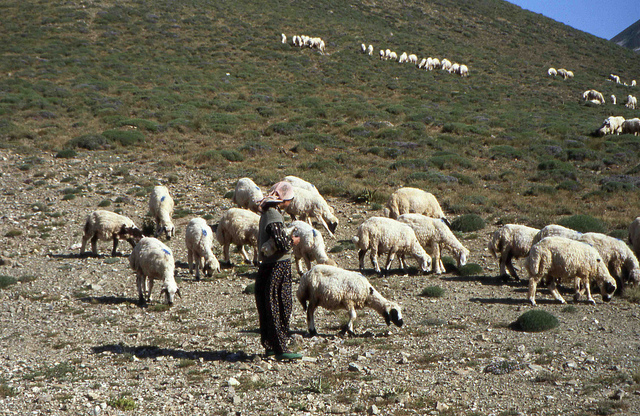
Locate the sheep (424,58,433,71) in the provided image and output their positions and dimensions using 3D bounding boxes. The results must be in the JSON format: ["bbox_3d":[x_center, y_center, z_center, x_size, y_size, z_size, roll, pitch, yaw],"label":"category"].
[{"bbox_3d":[13.529,-18.081,133.682,0.597,1.666,1.253,11,17,-23],"label":"sheep"}]

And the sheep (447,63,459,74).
[{"bbox_3d":[16.743,-17.641,133.117,1.358,1.182,1.157,2,5,1],"label":"sheep"}]

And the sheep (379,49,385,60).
[{"bbox_3d":[7.859,-19.493,134.335,0.442,1.411,0.784,-2,22,-1],"label":"sheep"}]

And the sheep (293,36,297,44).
[{"bbox_3d":[-3.262,-21.372,133.991,0.313,0.963,0.582,2,5,-5],"label":"sheep"}]

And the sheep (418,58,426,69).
[{"bbox_3d":[12.916,-18.338,133.768,0.936,1.110,1.294,2,5,-2],"label":"sheep"}]

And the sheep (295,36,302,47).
[{"bbox_3d":[-2.741,-21.124,134.004,0.916,1.278,0.525,2,6,-3],"label":"sheep"}]

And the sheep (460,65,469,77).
[{"bbox_3d":[17.984,-17.168,132.558,0.802,1.486,1.555,6,7,35],"label":"sheep"}]

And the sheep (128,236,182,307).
[{"bbox_3d":[-13.033,5.156,82.495,3.735,5.216,1.391,4,6,17],"label":"sheep"}]

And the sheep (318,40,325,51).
[{"bbox_3d":[0.200,-20.607,133.902,0.413,1.442,0.825,0,4,14],"label":"sheep"}]

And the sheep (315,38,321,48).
[{"bbox_3d":[-0.355,-20.946,133.807,0.794,1.357,0.323,7,8,-10],"label":"sheep"}]

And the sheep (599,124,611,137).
[{"bbox_3d":[29.485,-7.977,109.382,0.686,1.340,2.169,6,6,33],"label":"sheep"}]

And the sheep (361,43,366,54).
[{"bbox_3d":[5.534,-20.450,135.459,0.371,1.239,0.458,2,38,9],"label":"sheep"}]

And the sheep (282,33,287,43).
[{"bbox_3d":[-4.523,-21.613,134.680,0.572,1.040,1.178,3,5,0],"label":"sheep"}]

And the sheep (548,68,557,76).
[{"bbox_3d":[30.567,-17.908,139.039,0.882,0.487,1.094,5,28,7],"label":"sheep"}]

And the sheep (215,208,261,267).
[{"bbox_3d":[-6.205,2.202,86.521,3.566,5.090,3.125,5,-3,37],"label":"sheep"}]

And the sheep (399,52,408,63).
[{"bbox_3d":[10.587,-19.204,134.663,0.880,1.284,0.665,0,42,-5],"label":"sheep"}]
